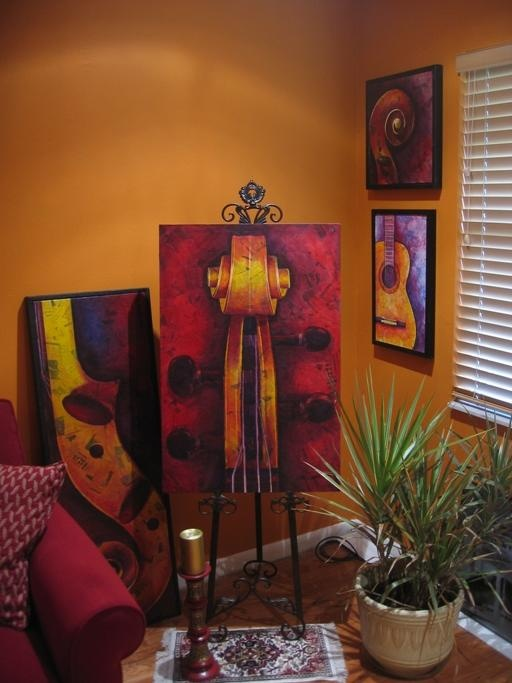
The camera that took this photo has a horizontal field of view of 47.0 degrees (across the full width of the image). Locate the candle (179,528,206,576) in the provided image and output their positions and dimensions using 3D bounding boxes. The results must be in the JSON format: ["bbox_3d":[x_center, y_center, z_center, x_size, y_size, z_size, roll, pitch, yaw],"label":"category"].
[{"bbox_3d":[-0.182,0.597,1.704,0.082,0.086,0.139,-15,34,5],"label":"candle"}]

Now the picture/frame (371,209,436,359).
[{"bbox_3d":[0.550,-0.225,2.204,0.089,0.550,0.391,-4,5,-15],"label":"picture/frame"}]

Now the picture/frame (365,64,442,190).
[{"bbox_3d":[0.529,-0.755,2.059,0.049,0.453,0.470,-4,9,-18],"label":"picture/frame"}]
